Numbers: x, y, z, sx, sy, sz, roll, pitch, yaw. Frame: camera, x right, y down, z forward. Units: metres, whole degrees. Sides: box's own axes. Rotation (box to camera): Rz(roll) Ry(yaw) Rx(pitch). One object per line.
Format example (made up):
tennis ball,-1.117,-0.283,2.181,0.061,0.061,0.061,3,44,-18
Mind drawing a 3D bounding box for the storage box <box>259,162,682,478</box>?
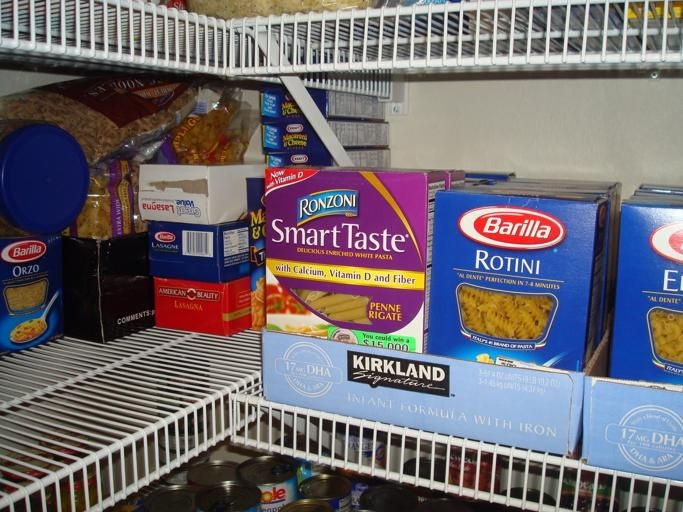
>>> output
storage box,0.243,0.110,1.016,0.620,0.406,0.320,1,-23,30
